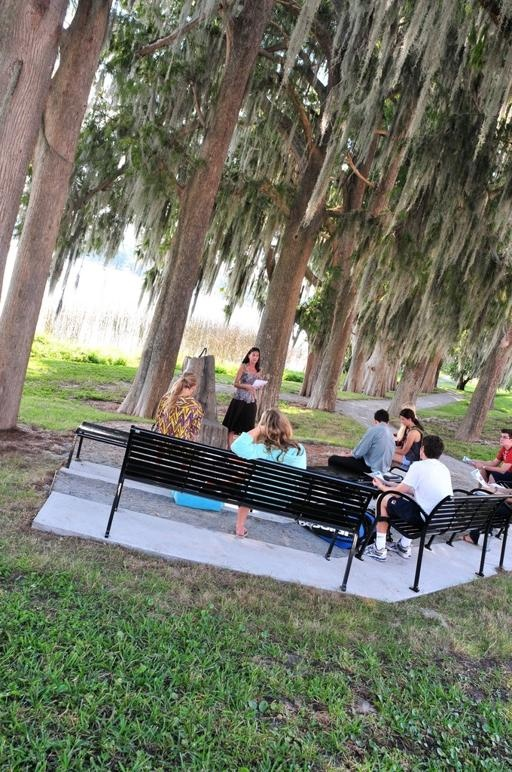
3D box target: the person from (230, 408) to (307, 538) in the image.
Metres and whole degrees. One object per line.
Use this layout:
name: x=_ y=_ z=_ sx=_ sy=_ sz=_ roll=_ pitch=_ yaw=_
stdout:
person: x=0.092 y=0.895 z=4.628 sx=0.640 sy=1.307 sz=0.669 roll=10 pitch=-6 yaw=1

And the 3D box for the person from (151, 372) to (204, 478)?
person: x=-0.785 y=0.287 z=5.565 sx=0.558 sy=0.506 sz=1.347 roll=34 pitch=-34 yaw=8

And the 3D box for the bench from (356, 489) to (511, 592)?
bench: x=1.678 y=1.489 z=5.025 sx=0.454 sy=0.645 sz=1.018 roll=9 pitch=2 yaw=42

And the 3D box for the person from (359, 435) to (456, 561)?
person: x=1.484 y=1.093 z=5.064 sx=0.490 sy=1.319 sz=0.722 roll=9 pitch=0 yaw=-40

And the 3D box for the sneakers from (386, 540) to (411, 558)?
sneakers: x=1.454 y=1.645 z=5.373 sx=0.100 sy=0.149 sz=0.296 roll=1 pitch=6 yaw=-25

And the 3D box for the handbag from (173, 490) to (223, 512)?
handbag: x=-0.563 y=1.087 z=4.951 sx=0.344 sy=0.118 sz=0.377 roll=11 pitch=5 yaw=-10

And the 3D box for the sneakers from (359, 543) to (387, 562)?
sneakers: x=1.113 y=1.571 z=4.976 sx=0.278 sy=0.170 sz=0.126 roll=4 pitch=-4 yaw=37

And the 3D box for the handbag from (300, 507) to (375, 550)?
handbag: x=0.845 y=1.306 z=5.303 sx=0.623 sy=0.293 sz=0.539 roll=-1 pitch=4 yaw=-1
